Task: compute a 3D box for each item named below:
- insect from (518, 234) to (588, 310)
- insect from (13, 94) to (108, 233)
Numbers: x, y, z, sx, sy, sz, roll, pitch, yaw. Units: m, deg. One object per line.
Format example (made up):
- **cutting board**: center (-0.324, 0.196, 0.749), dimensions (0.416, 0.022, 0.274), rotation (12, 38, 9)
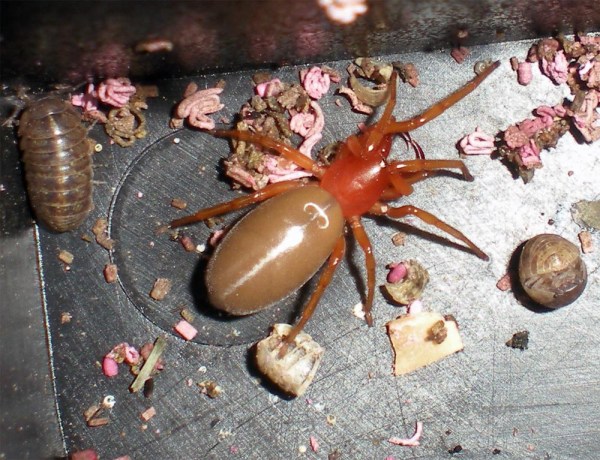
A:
- **insect**: center (0.671, 0.110, 1.808), dimensions (0.187, 0.072, 0.171), rotation (36, 85, 2)
- **insect**: center (-0.606, -0.161, 1.688), dimensions (0.220, 0.090, 0.309), rotation (-7, 97, -12)
